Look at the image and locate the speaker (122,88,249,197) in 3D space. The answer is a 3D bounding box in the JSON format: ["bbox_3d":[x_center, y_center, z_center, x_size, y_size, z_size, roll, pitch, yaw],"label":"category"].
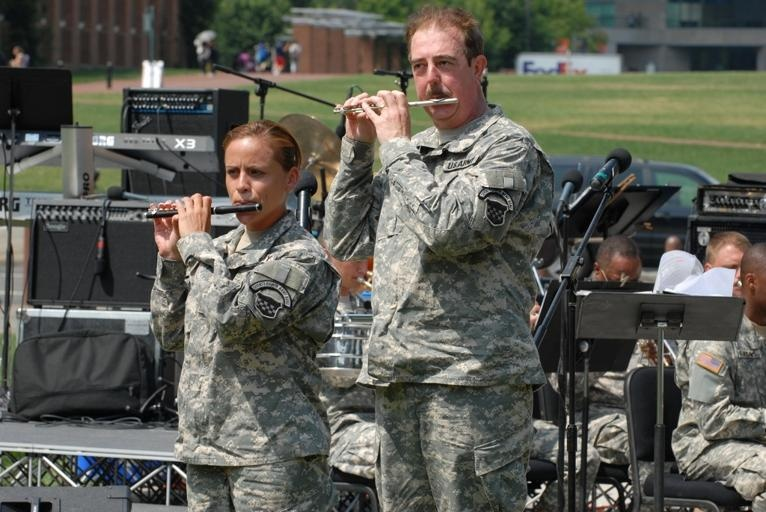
[{"bbox_3d":[-2.029,-1.272,20.136,2.169,1.191,1.147,-3,0,-5],"label":"speaker"}]

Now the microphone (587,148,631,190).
[{"bbox_3d":[2.165,-0.823,17.877,0.207,0.185,0.668,-8,29,45],"label":"microphone"}]
